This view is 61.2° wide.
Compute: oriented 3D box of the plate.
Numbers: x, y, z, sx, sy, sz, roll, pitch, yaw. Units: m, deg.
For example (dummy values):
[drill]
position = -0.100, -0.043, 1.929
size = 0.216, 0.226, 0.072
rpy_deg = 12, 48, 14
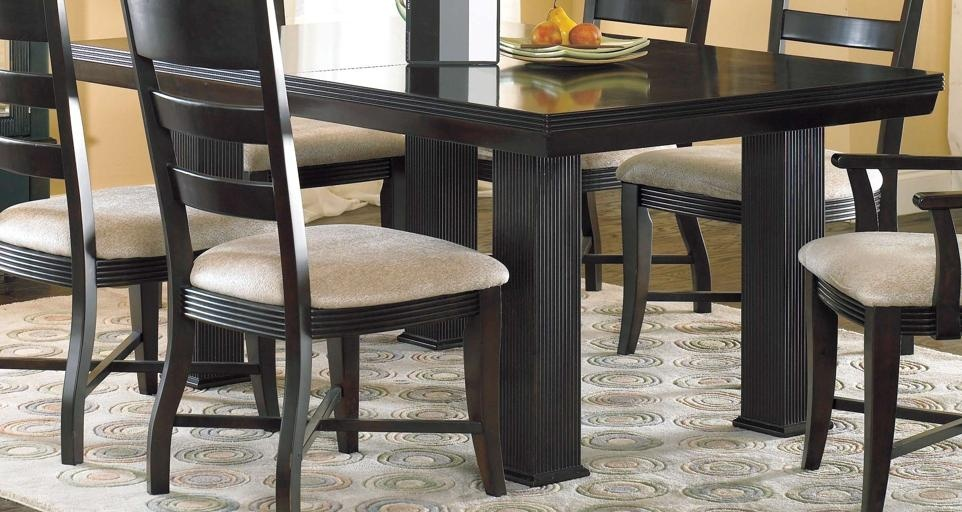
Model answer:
[plate]
position = 0.283, -0.735, 2.962
size = 0.344, 0.034, 0.300
rpy_deg = 5, 9, 31
